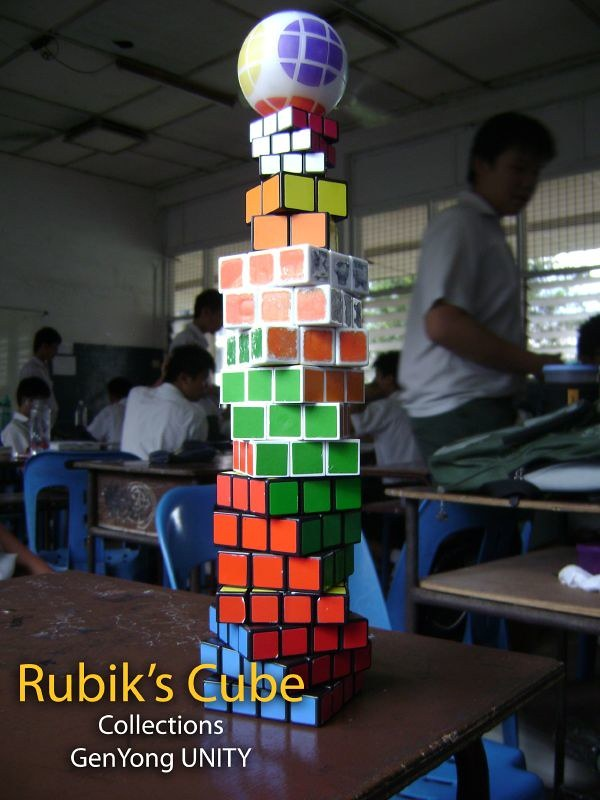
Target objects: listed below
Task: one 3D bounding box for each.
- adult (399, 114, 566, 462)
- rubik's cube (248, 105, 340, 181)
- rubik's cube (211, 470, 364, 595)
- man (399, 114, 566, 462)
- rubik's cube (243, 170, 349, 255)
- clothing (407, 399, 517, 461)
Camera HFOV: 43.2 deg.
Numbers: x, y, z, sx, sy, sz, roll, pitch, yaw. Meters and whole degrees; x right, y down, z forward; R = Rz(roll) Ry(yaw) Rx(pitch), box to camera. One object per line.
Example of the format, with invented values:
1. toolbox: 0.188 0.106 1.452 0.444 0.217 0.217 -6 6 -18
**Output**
1. adult: 0.490 -0.306 2.012 0.431 0.791 0.536 2 -1 7
2. rubik's cube: -0.011 -0.245 0.761 0.076 0.068 0.078 -1 -1 40
3. rubik's cube: -0.006 0.109 0.693 0.106 0.104 0.108 0 -3 27
4. man: 0.490 -0.306 2.012 0.431 0.791 0.536 2 -1 7
5. rubik's cube: -0.012 -0.166 0.697 0.080 0.059 0.080 0 -1 13
6. clothing: 0.445 0.044 2.070 0.235 0.084 0.181 -16 0 2
